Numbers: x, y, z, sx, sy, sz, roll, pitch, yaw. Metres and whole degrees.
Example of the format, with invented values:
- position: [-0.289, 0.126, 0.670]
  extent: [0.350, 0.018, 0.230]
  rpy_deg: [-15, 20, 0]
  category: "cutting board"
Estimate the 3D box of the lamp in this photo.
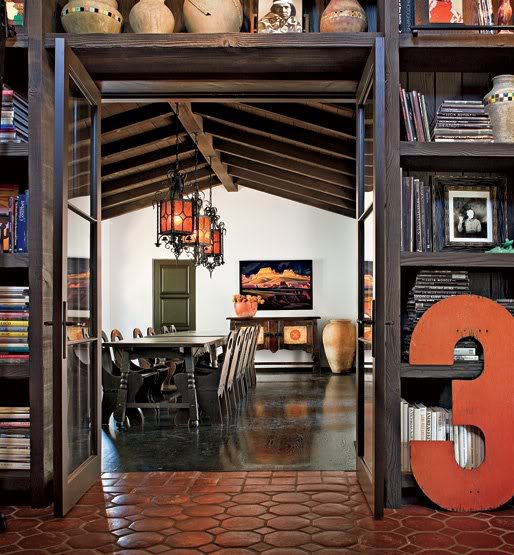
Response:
- position: [-0.824, -1.143, 7.938]
  extent: [0.452, 2.355, 1.732]
  rpy_deg: [0, -3, 21]
  category: "lamp"

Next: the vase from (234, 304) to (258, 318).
- position: [-0.158, 0.487, 9.606]
  extent: [0.241, 0.178, 0.242]
  rpy_deg: [1, 0, -32]
  category: "vase"
